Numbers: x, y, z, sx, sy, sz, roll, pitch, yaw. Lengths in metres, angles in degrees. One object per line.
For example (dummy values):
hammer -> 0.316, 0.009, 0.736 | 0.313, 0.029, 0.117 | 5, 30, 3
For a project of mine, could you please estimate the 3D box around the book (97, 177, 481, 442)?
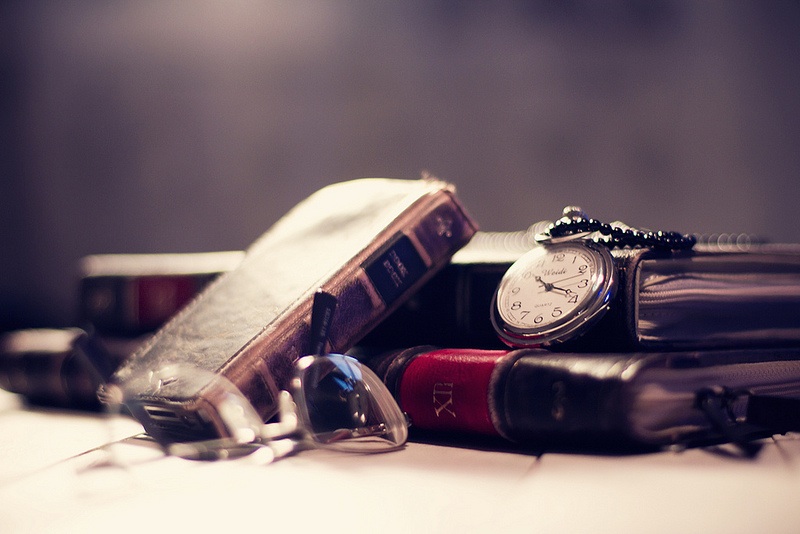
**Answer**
book -> -0.118, 0.031, 0.976 | 0.330, 0.080, 0.334 | -35, 17, 24

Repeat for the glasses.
glasses -> -0.145, 0.112, 0.932 | 0.203, 0.066, 0.213 | -19, 4, -35
